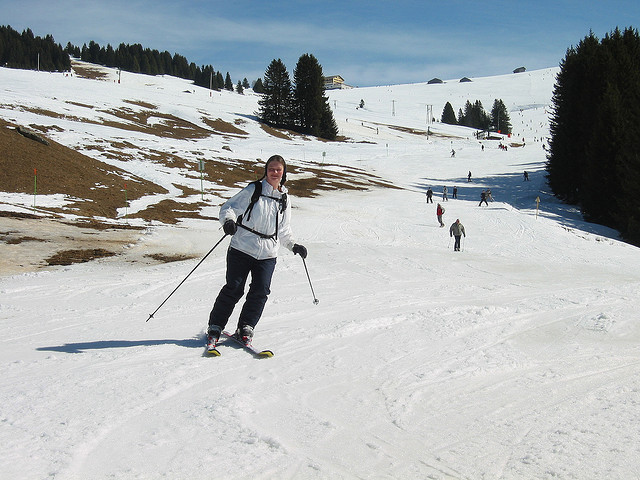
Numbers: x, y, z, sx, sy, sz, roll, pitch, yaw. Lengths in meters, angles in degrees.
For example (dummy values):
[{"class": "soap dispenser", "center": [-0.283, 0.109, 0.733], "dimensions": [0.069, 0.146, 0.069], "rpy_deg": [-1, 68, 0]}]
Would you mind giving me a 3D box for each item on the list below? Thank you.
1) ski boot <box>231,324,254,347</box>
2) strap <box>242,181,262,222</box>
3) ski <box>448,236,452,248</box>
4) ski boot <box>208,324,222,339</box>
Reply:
[{"class": "ski boot", "center": [-1.210, 1.495, 8.523], "dimensions": [0.239, 0.299, 0.308], "rpy_deg": [35, -35, -27]}, {"class": "strap", "center": [-1.037, -0.608, 8.402], "dimensions": [0.254, 0.610, 0.398], "rpy_deg": [3, 8, 5]}, {"class": "ski", "center": [6.245, 0.102, 25.937], "dimensions": [0.070, 0.567, 0.082], "rpy_deg": [22, -13, 21]}, {"class": "ski boot", "center": [-1.650, 1.401, 8.423], "dimensions": [0.168, 0.205, 0.216], "rpy_deg": [20, -3, -27]}]
